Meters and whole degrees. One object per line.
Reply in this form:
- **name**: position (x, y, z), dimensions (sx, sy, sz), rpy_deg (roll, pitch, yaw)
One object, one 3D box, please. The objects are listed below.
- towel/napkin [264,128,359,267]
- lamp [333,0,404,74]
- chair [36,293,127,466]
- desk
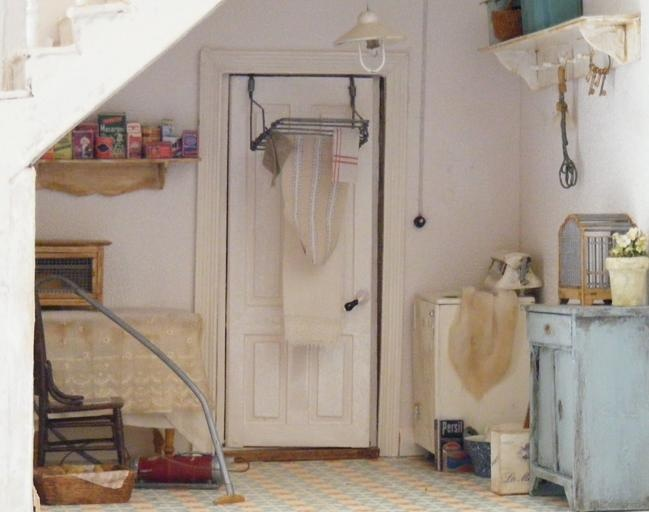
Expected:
- **towel/napkin**: position (-0.102, -0.362, 7.097), dimensions (0.695, 1.035, 0.234), rpy_deg (-1, 2, 1)
- **lamp**: position (0.254, -1.176, 6.625), dimensions (0.373, 0.558, 0.399), rpy_deg (-3, 4, -13)
- **chair**: position (-1.342, 0.718, 6.649), dimensions (0.512, 1.063, 0.680), rpy_deg (1, 10, -10)
- **desk**: position (-1.107, 0.639, 6.777), dimensions (0.757, 0.447, 0.807), rpy_deg (1, 3, -16)
